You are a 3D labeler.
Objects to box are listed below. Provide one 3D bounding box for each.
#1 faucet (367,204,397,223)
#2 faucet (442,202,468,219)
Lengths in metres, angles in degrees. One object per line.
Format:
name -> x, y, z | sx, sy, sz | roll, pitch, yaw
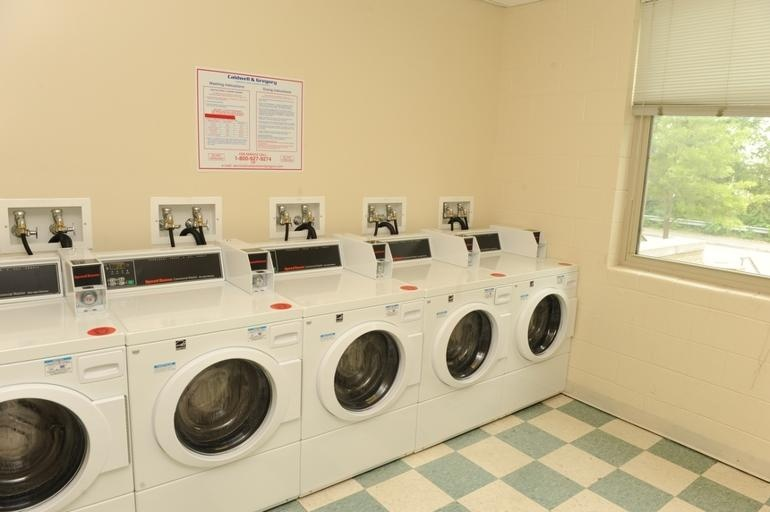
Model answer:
faucet -> -0.031, -0.368, 3.929 | 0.233, 0.167, 0.088 | -14, 16, -37
faucet -> 0.667, -0.438, 4.330 | 0.311, 0.149, 0.110 | -14, 17, -39
